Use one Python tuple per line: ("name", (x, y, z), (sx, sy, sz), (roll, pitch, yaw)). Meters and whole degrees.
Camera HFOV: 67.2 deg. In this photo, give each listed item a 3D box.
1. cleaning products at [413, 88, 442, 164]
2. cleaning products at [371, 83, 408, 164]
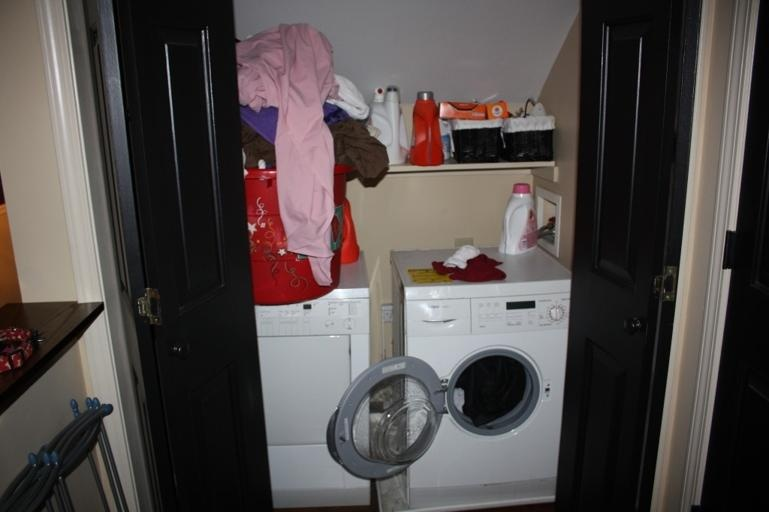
("cleaning products", (0.209, -0.649, 2.941), (0.167, 0.367, 0.100), (-2, 14, 3))
("cleaning products", (0.012, -0.653, 2.907), (0.144, 0.387, 0.264), (5, 16, 27))
